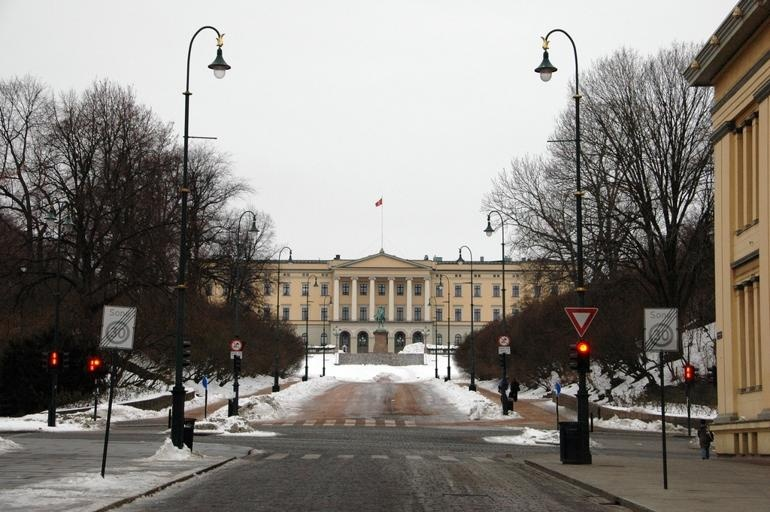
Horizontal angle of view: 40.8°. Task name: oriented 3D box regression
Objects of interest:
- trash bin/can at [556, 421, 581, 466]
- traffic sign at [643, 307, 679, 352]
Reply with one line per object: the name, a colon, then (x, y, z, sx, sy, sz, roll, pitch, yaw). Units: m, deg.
trash bin/can: (7.461, 7.687, 42.036, 1.161, 2.050, 1.297, 0, -15, 3)
traffic sign: (9.609, 2.579, 36.071, 1.312, 1.831, 0.301, -1, -6, 1)
